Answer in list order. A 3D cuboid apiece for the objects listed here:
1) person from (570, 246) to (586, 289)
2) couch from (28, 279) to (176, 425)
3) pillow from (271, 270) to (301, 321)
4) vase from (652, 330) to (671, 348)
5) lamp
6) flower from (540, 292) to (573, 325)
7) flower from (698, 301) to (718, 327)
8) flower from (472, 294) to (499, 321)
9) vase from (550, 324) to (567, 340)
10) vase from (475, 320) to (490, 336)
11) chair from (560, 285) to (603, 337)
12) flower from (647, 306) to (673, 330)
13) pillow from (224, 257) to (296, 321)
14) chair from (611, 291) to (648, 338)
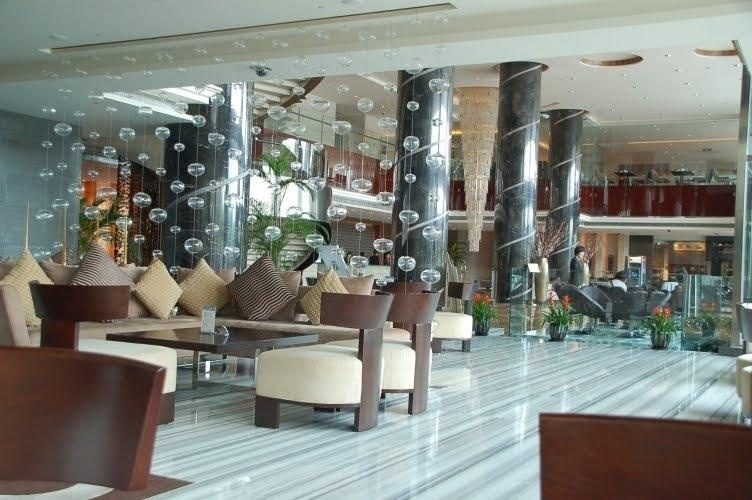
[{"bbox_3d":[3.853,0.279,10.770,0.257,0.742,1.481,3,0,19],"label":"person"},{"bbox_3d":[-2.079,0.733,4.323,1.020,0.937,0.996,-1,2,-42],"label":"couch"},{"bbox_3d":[-0.986,0.525,6.439,0.151,0.441,0.476,15,-32,-20],"label":"pillow"},{"bbox_3d":[4.810,1.504,9.526,0.297,0.236,0.276,10,-10,-13],"label":"vase"},{"bbox_3d":[2.590,-2.180,14.894,1.021,4.334,1.219,3,0,6],"label":"lamp"},{"bbox_3d":[3.278,1.068,10.073,0.499,0.488,0.522,-7,-14,38],"label":"flower"},{"bbox_3d":[5.526,1.061,9.300,0.295,0.372,0.137,2,-3,12],"label":"flower"},{"bbox_3d":[2.027,1.092,10.663,0.500,0.618,0.499,-1,-1,-3],"label":"flower"},{"bbox_3d":[3.256,1.472,10.071,0.290,0.208,0.292,1,-8,4],"label":"vase"},{"bbox_3d":[1.957,1.442,10.485,0.285,0.205,0.276,2,3,-28],"label":"vase"},{"bbox_3d":[3.776,1.024,10.162,0.770,0.794,0.655,5,-1,30],"label":"chair"},{"bbox_3d":[4.826,1.156,9.501,0.406,0.423,0.368,2,-3,-16],"label":"flower"},{"bbox_3d":[-1.312,0.460,6.336,0.655,0.684,0.213,-39,-22,-6],"label":"pillow"},{"bbox_3d":[4.361,1.098,9.693,0.712,0.782,0.712,2,0,-29],"label":"chair"}]
